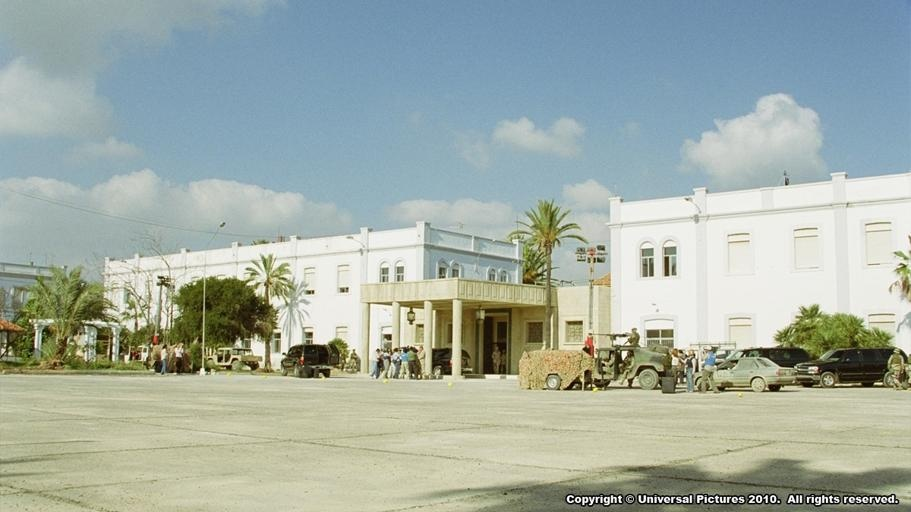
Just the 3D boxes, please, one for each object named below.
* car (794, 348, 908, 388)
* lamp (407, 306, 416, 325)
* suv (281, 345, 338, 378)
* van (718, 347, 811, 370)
[{"bbox_3d":[21.288,6.301,51.405,5.944,2.155,2.342,0,-4,1],"label":"car"},{"bbox_3d":[-3.393,4.486,69.057,0.486,1.179,1.030,2,-10,-4],"label":"lamp"},{"bbox_3d":[-10.587,7.389,64.674,2.164,1.589,3.810,3,-3,-33],"label":"suv"},{"bbox_3d":[17.163,5.467,50.147,4.907,1.600,1.989,0,-6,6],"label":"van"}]
